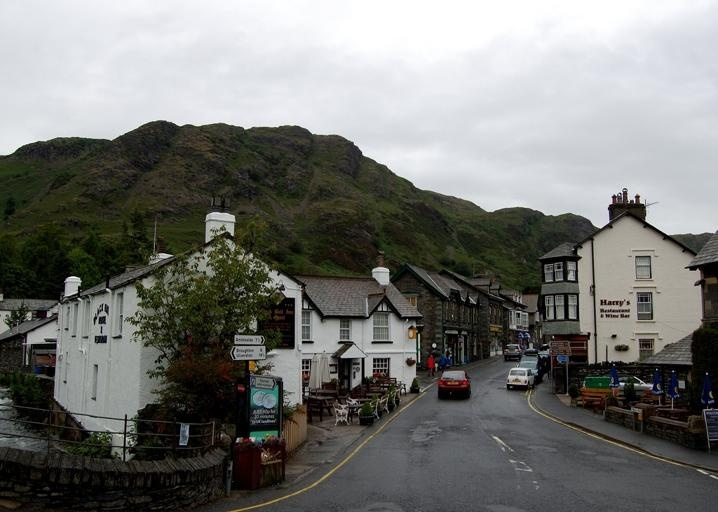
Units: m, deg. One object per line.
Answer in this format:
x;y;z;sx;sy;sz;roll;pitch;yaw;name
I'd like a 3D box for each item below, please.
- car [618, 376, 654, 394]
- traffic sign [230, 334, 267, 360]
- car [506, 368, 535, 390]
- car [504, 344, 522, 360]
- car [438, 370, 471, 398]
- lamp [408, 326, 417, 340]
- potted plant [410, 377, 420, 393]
18.174;8.411;46.900;2.165;1.118;1.373;-3;-3;1;car
-4.336;3.557;27.899;1.211;0.913;0.168;4;-11;-21;traffic sign
12.178;9.388;54.740;1.560;1.643;2.716;-5;-10;27;car
18.146;11.378;84.936;1.605;1.586;3.408;-1;-2;11;car
6.420;8.726;48.651;1.950;1.839;1.775;-3;-9;18;car
4.183;6.158;57.235;0.838;1.277;0.876;1;-10;0;lamp
4.184;9.718;53.750;0.845;1.299;0.890;-1;0;24;potted plant
